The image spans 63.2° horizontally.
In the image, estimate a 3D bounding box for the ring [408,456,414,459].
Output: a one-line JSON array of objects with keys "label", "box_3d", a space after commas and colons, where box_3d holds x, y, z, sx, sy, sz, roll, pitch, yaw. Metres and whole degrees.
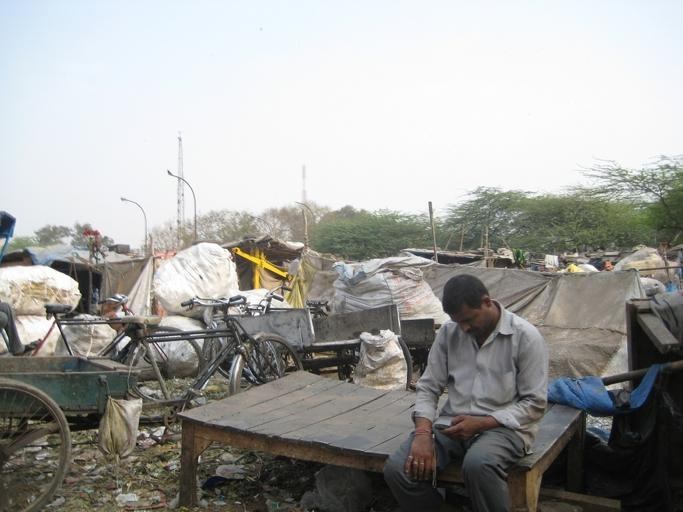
[{"label": "ring", "box_3d": [0.442, 1.297, 3.558, 0.020, 0.018, 0.020, -1, 5, 0]}]

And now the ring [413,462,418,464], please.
[{"label": "ring", "box_3d": [0.470, 1.325, 3.529, 0.019, 0.008, 0.025, 1, 1, 11]}]
